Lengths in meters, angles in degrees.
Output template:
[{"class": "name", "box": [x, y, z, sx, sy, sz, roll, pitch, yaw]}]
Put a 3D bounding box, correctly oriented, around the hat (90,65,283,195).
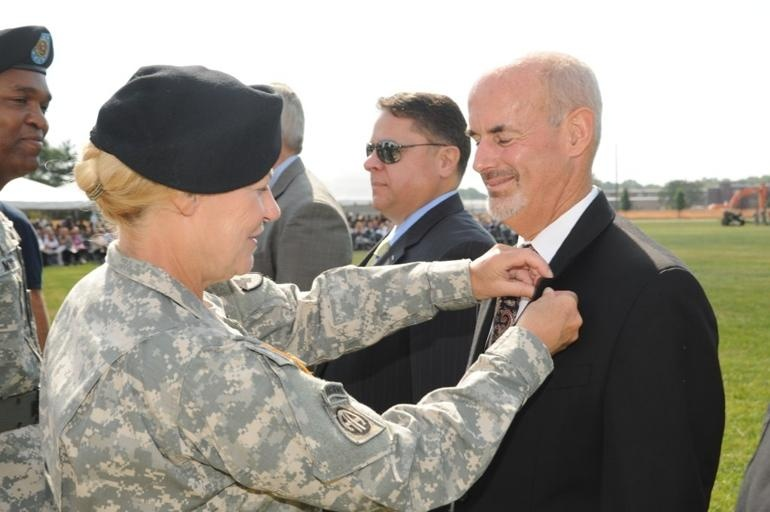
[{"class": "hat", "box": [-0.821, -0.489, 3.581, 0.676, 0.671, 0.229, -18, -31, -21]}]
